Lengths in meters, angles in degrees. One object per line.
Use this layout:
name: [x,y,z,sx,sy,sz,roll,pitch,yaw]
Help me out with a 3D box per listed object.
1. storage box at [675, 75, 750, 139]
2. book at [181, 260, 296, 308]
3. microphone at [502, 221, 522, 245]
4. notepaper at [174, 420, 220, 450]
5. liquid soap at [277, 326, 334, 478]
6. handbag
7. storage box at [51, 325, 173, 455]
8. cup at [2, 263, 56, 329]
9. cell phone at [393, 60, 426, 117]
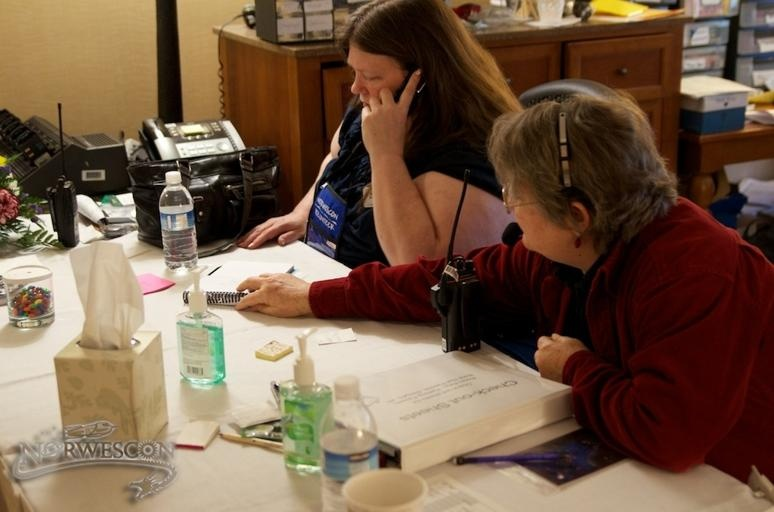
storage box: [1.871,-0.882,3.545,0.359,0.238,0.397,-10,22,-13]
book: [-0.471,0.076,1.805,0.168,0.041,0.175,14,27,41]
microphone: [0.294,-0.058,1.468,0.043,0.055,0.023,14,26,-49]
notepaper: [-0.380,0.359,1.188,0.083,0.024,0.066,-2,18,11]
liquid soap: [-0.144,0.271,1.086,0.099,0.263,0.064,4,20,14]
handbag: [-0.659,-0.218,2.257,0.307,0.302,0.570,20,26,41]
storage box: [-0.537,0.265,1.184,0.180,0.159,0.178,2,4,15]
cup: [-0.941,0.114,1.679,0.147,0.160,0.153,0,16,0]
cell phone: [0.091,-0.561,1.996,0.032,0.120,0.126,19,12,-38]
